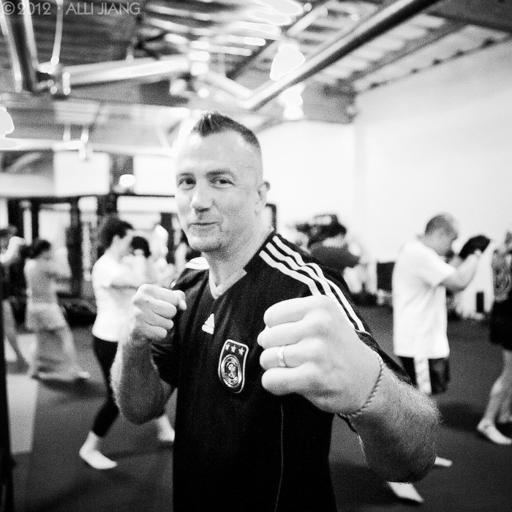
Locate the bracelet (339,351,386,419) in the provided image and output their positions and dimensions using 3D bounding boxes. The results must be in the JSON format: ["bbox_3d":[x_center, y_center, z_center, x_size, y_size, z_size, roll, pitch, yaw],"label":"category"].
[{"bbox_3d":[0.150,0.194,0.787,0.057,0.111,0.094,1,6,13],"label":"bracelet"}]
